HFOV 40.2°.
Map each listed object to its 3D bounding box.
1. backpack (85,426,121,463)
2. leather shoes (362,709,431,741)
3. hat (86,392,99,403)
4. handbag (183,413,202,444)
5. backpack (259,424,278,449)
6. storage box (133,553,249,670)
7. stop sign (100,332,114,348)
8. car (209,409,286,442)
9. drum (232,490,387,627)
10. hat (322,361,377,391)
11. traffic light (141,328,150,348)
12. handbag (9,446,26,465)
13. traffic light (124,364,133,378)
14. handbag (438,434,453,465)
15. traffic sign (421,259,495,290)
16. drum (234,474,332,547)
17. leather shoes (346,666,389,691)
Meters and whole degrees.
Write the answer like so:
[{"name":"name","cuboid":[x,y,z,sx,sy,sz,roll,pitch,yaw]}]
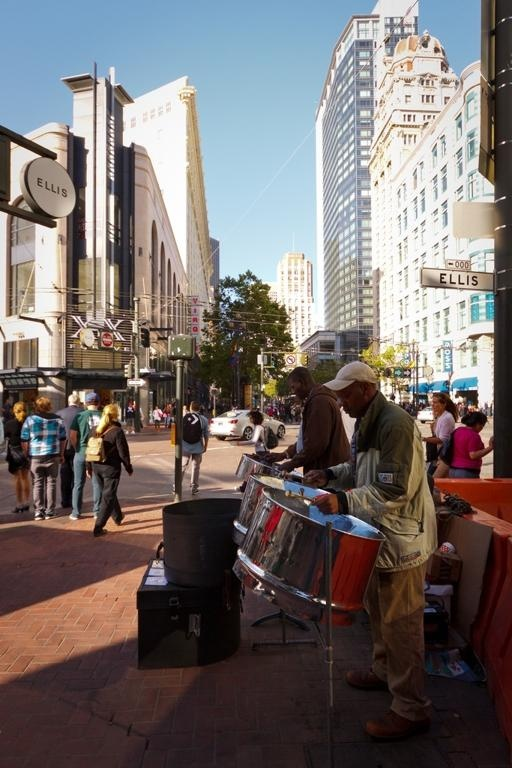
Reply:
[{"name":"backpack","cuboid":[-1.792,0.711,8.048,0.347,0.417,0.196,-1,2,-5]},{"name":"leather shoes","cuboid":[0.662,1.591,3.313,0.302,0.155,0.122,5,-12,-13]},{"name":"hat","cuboid":[-2.237,0.193,9.466,0.163,0.136,0.277,-2,3,-13]},{"name":"handbag","cuboid":[-1.047,0.726,11.354,0.371,0.594,0.271,9,-15,-39]},{"name":"backpack","cuboid":[0.208,0.822,10.750,0.256,0.559,0.405,-2,-1,-10]},{"name":"storage box","cuboid":[-0.400,1.309,4.149,0.511,0.392,0.568,1,-1,-3]},{"name":"stop sign","cuboid":[-7.258,-2.138,33.608,0.235,0.860,0.764,-1,-2,26]},{"name":"car","cuboid":[-0.153,1.458,25.962,2.802,1.101,1.323,-4,3,-39]},{"name":"drum","cuboid":[0.222,0.719,3.105,0.487,0.382,0.530,27,-4,2]},{"name":"hat","cuboid":[0.481,-0.039,3.474,0.189,0.121,0.137,-1,-3,-7]},{"name":"traffic light","cuboid":[-4.554,-1.910,28.170,0.311,0.696,0.647,-2,3,-20]},{"name":"handbag","cuboid":[-3.380,1.001,9.777,0.264,0.216,0.148,0,3,29]},{"name":"traffic light","cuboid":[-6.490,-0.692,35.305,0.412,0.766,1.636,-1,3,-11]},{"name":"handbag","cuboid":[2.096,0.717,7.714,0.120,0.345,0.314,3,-6,25]},{"name":"traffic sign","cuboid":[1.686,-0.913,5.900,0.744,0.251,0.317,-2,3,-11]},{"name":"drum","cuboid":[0.069,0.605,3.730,0.374,0.453,0.393,10,-6,-42]},{"name":"leather shoes","cuboid":[0.605,1.616,3.837,0.209,0.106,0.091,7,-3,20]}]
